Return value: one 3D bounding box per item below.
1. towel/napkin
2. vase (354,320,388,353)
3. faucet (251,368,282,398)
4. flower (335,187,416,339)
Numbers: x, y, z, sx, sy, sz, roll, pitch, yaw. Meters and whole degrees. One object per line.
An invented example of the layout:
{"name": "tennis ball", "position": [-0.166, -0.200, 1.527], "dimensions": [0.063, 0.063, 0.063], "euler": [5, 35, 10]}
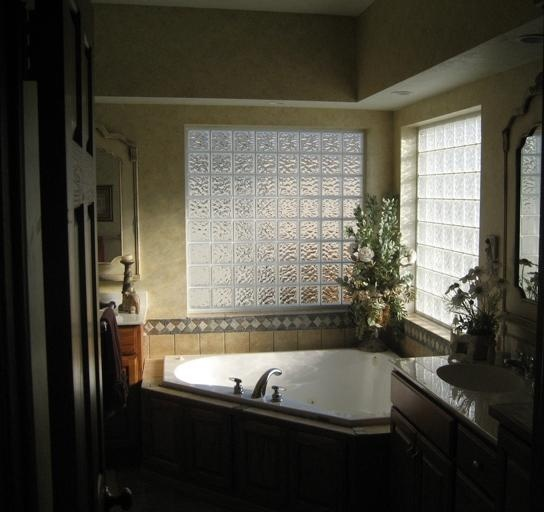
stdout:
{"name": "towel/napkin", "position": [-0.924, 0.622, 2.838], "dimensions": [0.134, 0.619, 0.294], "euler": [-2, 4, -20]}
{"name": "vase", "position": [0.803, 0.661, 3.941], "dimensions": [0.232, 0.303, 0.252], "euler": [1, -4, 9]}
{"name": "faucet", "position": [-0.047, 0.788, 2.994], "dimensions": [0.108, 0.144, 0.252], "euler": [2, 5, 34]}
{"name": "flower", "position": [0.836, 0.141, 3.889], "dimensions": [0.598, 1.222, 0.559], "euler": [1, 4, 18]}
